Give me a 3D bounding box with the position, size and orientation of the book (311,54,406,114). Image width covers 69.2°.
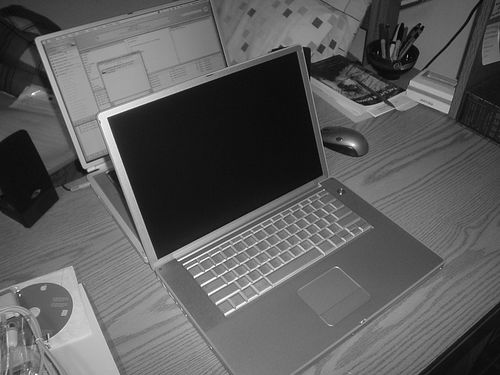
[{"bbox_3d":[0.373,-0.396,1.371,0.218,0.042,0.297,-31,60,-25],"label":"book"}]

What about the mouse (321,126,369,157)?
[{"bbox_3d":[0.297,-0.153,1.160,0.138,0.044,0.081,20,72,9],"label":"mouse"}]

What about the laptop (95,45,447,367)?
[{"bbox_3d":[0.057,0.022,0.795,0.575,0.408,0.513,-26,45,-21],"label":"laptop"}]

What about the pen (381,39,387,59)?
[{"bbox_3d":[0.513,-0.531,1.388,0.020,0.081,0.017,-3,29,-3],"label":"pen"}]

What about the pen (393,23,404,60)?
[{"bbox_3d":[0.563,-0.550,1.374,0.023,0.022,0.205,12,72,18],"label":"pen"}]
